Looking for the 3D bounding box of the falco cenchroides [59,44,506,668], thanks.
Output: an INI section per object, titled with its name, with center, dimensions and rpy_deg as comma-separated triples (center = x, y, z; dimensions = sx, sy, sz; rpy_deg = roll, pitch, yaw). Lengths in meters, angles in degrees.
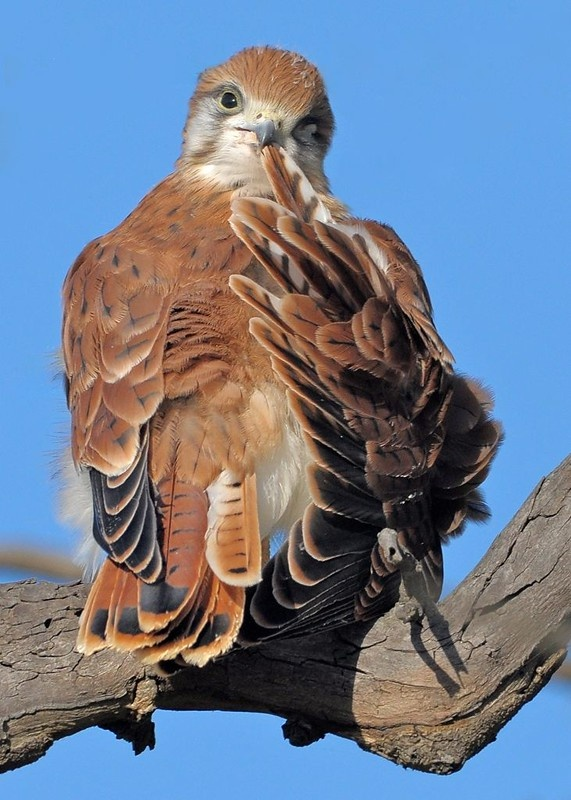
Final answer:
[falco cenchroides]
center = -0.170, -0.191, 5.656
dimensions = 1.463, 1.607, 1.792
rpy_deg = -3, 3, -1
